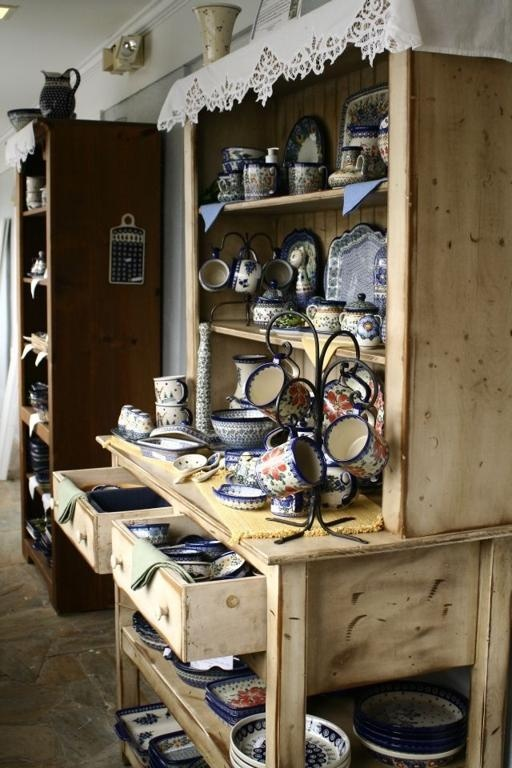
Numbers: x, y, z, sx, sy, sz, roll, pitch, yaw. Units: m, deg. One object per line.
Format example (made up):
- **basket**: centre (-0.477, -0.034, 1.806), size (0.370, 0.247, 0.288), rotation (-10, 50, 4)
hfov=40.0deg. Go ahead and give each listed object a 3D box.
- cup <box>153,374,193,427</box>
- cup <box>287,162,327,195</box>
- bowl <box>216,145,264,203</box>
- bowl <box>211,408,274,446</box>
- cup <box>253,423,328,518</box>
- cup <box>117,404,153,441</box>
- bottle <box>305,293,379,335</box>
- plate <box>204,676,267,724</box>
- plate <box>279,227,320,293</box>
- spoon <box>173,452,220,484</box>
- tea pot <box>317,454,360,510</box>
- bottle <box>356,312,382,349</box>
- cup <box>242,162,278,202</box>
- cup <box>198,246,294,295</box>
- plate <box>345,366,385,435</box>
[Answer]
- **cup**: centre (-0.252, 0.053, 2.100), size (0.102, 0.157, 0.154), rotation (-3, 5, -25)
- **cup**: centre (0.114, -0.467, 1.598), size (0.101, 0.075, 0.078), rotation (8, 12, 35)
- **bowl**: centre (-0.043, -0.541, 1.870), size (0.152, 0.151, 0.129), rotation (2, -2, 3)
- **bowl**: centre (-0.045, 0.112, 1.757), size (0.119, 0.069, 0.118), rotation (2, 1, 0)
- **cup**: centre (0.055, 0.140, 1.163), size (0.096, 0.157, 0.105), rotation (1, -11, 0)
- **cup**: centre (-0.370, 0.129, 2.128), size (0.059, 0.078, 0.170), rotation (0, 2, -22)
- **bottle**: centre (0.170, -0.143, 1.451), size (0.119, 0.066, 0.090), rotation (6, 8, 17)
- **plate**: centre (-0.049, 0.675, 1.506), size (0.079, 0.021, 0.078), rotation (1, 2, -33)
- **plate**: centre (0.123, -0.332, 1.923), size (0.028, 0.248, 0.179), rotation (6, -10, -29)
- **spoon**: centre (-0.137, 0.196, 1.647), size (0.051, 0.017, 0.089), rotation (-7, 13, 24)
- **tea pot**: centre (0.153, 0.178, 1.269), size (0.064, 0.085, 0.088), rotation (0, 7, 5)
- **bottle**: centre (0.215, -0.101, 1.333), size (0.064, 0.067, 0.051), rotation (5, -7, -37)
- **cup**: centre (0.011, -0.491, 1.694), size (0.068, 0.094, 0.107), rotation (-7, 14, -31)
- **cup**: centre (-0.038, -0.306, 1.975), size (0.299, 0.125, 0.144), rotation (2, -8, -7)
- **plate**: centre (0.200, 0.021, 1.354), size (0.054, 0.134, 0.097), rotation (-7, 42, 3)
